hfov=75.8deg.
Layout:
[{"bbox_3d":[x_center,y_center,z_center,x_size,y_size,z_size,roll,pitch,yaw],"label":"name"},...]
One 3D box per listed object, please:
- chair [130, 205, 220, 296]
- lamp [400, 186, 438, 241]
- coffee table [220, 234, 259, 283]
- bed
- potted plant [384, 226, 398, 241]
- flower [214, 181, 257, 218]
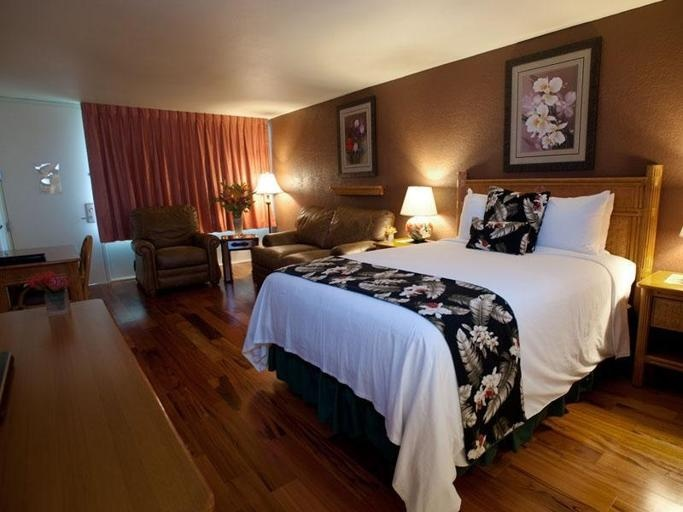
[{"bbox_3d":[-2.240,-0.108,6.112,1.105,1.321,1.232,-5,7,-33],"label":"chair"},{"bbox_3d":[0.807,-0.438,4.744,0.521,0.748,0.524,-1,2,0],"label":"lamp"},{"bbox_3d":[-1.515,0.007,6.312,0.599,0.597,0.592,-4,6,-38],"label":"coffee table"},{"bbox_3d":[0.981,0.320,3.356,2.608,1.661,2.002,-7,9,-36],"label":"bed"},{"bbox_3d":[0.562,-0.258,5.014,0.161,0.173,0.167,0,4,-35],"label":"potted plant"},{"bbox_3d":[-1.635,-0.858,6.744,0.599,0.557,0.625,2,-3,5],"label":"flower"}]
